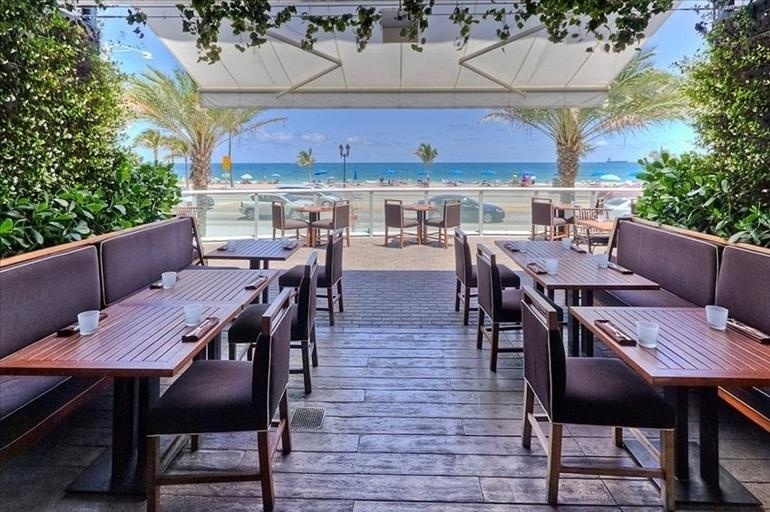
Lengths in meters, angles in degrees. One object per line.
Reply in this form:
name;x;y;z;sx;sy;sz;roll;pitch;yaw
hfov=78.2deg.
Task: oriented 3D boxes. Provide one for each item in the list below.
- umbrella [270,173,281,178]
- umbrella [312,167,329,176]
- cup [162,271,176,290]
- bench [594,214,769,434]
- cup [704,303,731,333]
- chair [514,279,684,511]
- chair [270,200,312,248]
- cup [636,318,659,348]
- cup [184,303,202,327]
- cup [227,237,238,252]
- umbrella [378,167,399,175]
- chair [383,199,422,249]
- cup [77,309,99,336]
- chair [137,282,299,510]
umbrella;-16.605;-12.042;71.048;1.321;0.608;1.681;3;15;4
umbrella;-9.613;-12.479;70.411;2.245;0.894;1.487;-1;16;-9
cup;-1.880;0.208;4.134;0.155;0.157;0.156;2;-3;0
bench;2.321;0.516;3.612;0.601;0.693;1.819;-3;8;1
cup;2.365;0.433;3.349;0.165;0.148;0.174;1;-6;0
chair;1.537;0.836;3.673;1.245;1.534;1.658;-2;3;0
chair;-2.152;-0.779;10.833;0.939;1.185;0.847;-3;10;-15
cup;1.710;0.500;3.035;0.120;0.144;0.175;-2;-7;10
cup;-1.293;0.408;3.248;0.146;0.145;0.140;2;-1;0
cup;-1.873;-0.120;5.787;0.155;0.154;0.142;4;3;0
umbrella;0.621;-12.672;70.823;2.495;1.099;2.079;1;16;-2
chair;0.395;-0.845;11.319;0.870;1.141;1.763;2;16;0
cup;-1.965;0.441;3.149;0.136;0.129;0.159;4;-7;-2
chair;-0.843;0.867;3.665;1.274;1.664;1.298;3;2;-3
